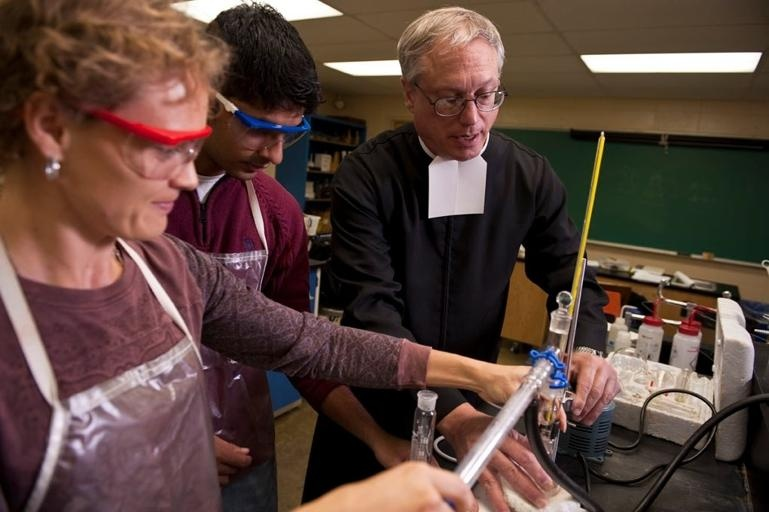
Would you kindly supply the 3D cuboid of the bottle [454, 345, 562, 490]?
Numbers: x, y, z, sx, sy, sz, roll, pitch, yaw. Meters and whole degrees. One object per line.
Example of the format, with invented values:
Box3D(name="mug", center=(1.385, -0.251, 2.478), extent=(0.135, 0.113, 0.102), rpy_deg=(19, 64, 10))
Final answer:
Box3D(name="bottle", center=(0.307, 0.317, 1.247), extent=(0.125, 0.121, 0.485), rpy_deg=(-2, 24, 35))
